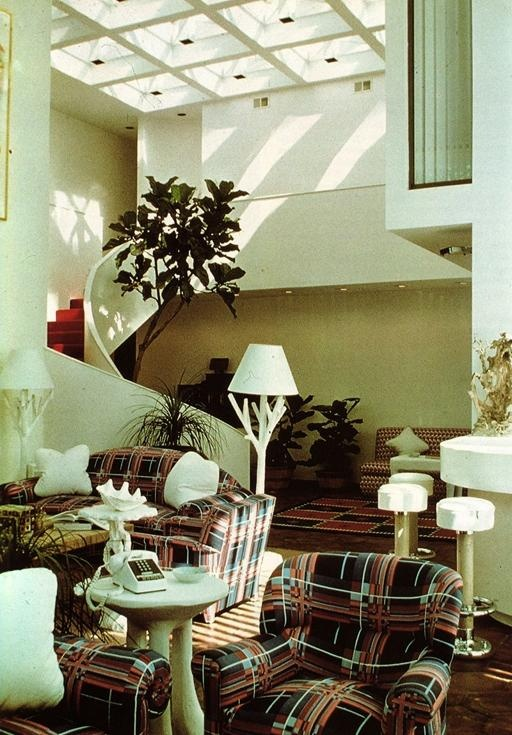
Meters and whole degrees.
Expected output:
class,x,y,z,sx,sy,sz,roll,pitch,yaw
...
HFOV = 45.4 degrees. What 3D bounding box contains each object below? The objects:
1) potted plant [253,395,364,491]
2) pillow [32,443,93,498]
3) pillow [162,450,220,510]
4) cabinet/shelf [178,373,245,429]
class,x,y,z,sx,sy,sz,roll,pitch,yaw
potted plant,0.926,1.207,9.771,1.526,1.398,1.744,-1,-1,27
pillow,-1.667,0.908,5.273,0.416,0.403,0.149,3,-24,-19
pillow,-0.502,0.855,4.573,0.372,0.344,0.199,-10,-27,43
cabinet/shelf,-0.605,0.476,8.442,0.998,0.893,0.352,0,-3,21
